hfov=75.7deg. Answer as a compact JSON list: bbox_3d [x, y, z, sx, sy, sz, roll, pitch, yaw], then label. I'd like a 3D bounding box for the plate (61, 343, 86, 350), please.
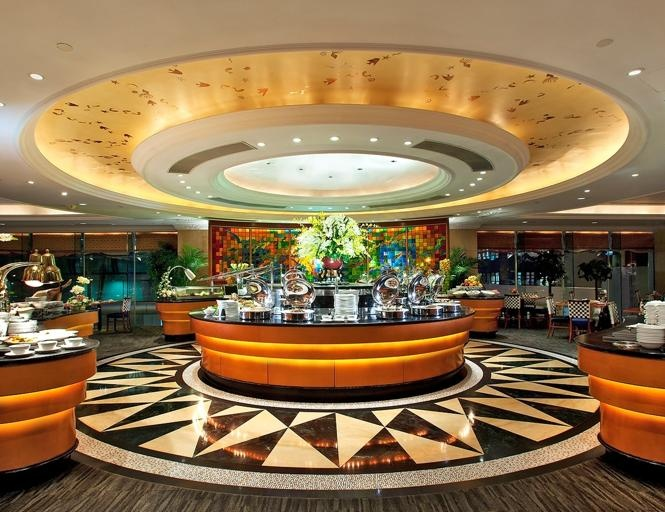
[{"bbox_3d":[-2.649,0.912,4.386,0.224,0.054,0.153,-1,2,-17],"label":"plate"}]

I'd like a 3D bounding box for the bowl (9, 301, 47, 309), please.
[{"bbox_3d":[-4.937,0.796,7.002,0.512,0.080,0.440,-1,-2,22],"label":"bowl"}]

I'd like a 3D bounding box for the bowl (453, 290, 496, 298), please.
[{"bbox_3d":[3.728,1.009,11.158,1.164,0.185,0.745,0,2,10],"label":"bowl"}]

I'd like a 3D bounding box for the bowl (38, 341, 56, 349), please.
[{"bbox_3d":[-2.804,0.874,4.221,0.128,0.039,0.101,-1,-9,-1],"label":"bowl"}]

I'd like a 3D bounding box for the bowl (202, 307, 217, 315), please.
[{"bbox_3d":[-2.001,0.913,7.037,0.199,0.069,0.176,-1,4,-31],"label":"bowl"}]

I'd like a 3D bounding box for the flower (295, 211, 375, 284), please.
[{"bbox_3d":[-0.008,-0.165,7.538,1.183,1.127,0.596,-1,3,-2],"label":"flower"}]

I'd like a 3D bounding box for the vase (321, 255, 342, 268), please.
[{"bbox_3d":[0.001,0.121,7.455,0.300,0.139,0.260,-1,-1,37],"label":"vase"}]

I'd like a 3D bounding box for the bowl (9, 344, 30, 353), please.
[{"bbox_3d":[-2.964,0.875,4.063,0.144,0.053,0.116,-1,-8,9],"label":"bowl"}]

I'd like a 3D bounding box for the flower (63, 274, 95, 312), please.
[{"bbox_3d":[-5.338,0.871,9.123,0.382,0.403,0.331,-13,4,-12],"label":"flower"}]
